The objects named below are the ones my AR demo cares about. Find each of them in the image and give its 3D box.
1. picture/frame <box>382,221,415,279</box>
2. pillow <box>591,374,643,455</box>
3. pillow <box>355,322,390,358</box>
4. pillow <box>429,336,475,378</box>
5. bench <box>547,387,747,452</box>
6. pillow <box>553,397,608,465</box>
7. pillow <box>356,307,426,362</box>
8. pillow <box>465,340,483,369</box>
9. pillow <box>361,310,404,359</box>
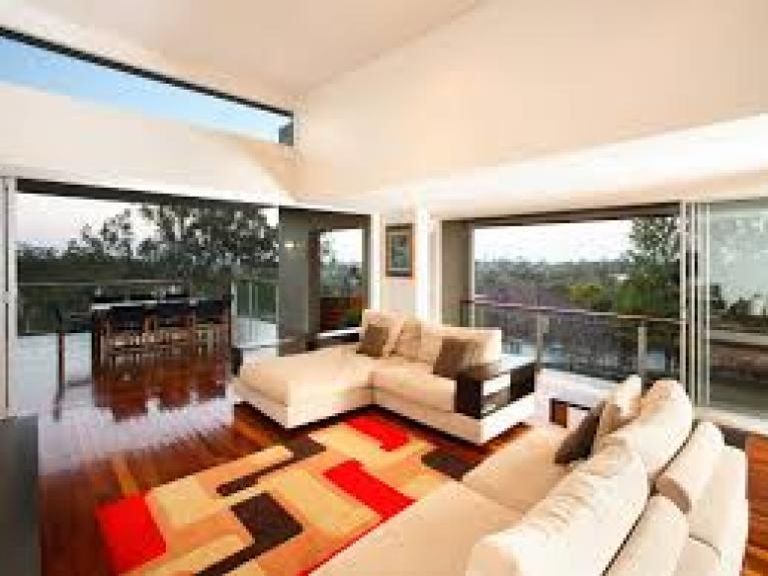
[{"bbox_3d":[0.238,-0.558,6.976,0.084,1.198,0.827,0,1,-41],"label":"picture/frame"},{"bbox_3d":[1.659,0.900,3.354,0.179,0.369,0.643,11,13,34],"label":"pillow"},{"bbox_3d":[-0.119,0.641,5.715,0.116,0.364,0.386,22,-6,-42],"label":"pillow"},{"bbox_3d":[0.696,0.722,4.907,0.389,0.409,0.147,9,-15,45],"label":"pillow"},{"bbox_3d":[1.990,1.002,3.569,0.212,0.377,0.788,-6,9,-37],"label":"bench"},{"bbox_3d":[1.371,1.052,3.396,0.366,0.470,0.646,2,-2,19],"label":"pillow"},{"bbox_3d":[0.163,0.569,5.706,0.608,0.621,0.189,3,-3,44],"label":"pillow"},{"bbox_3d":[0.947,0.700,4.941,0.076,0.211,0.204,17,4,1],"label":"pillow"},{"bbox_3d":[0.060,0.612,5.841,0.162,0.538,0.555,16,-4,-27],"label":"pillow"}]
